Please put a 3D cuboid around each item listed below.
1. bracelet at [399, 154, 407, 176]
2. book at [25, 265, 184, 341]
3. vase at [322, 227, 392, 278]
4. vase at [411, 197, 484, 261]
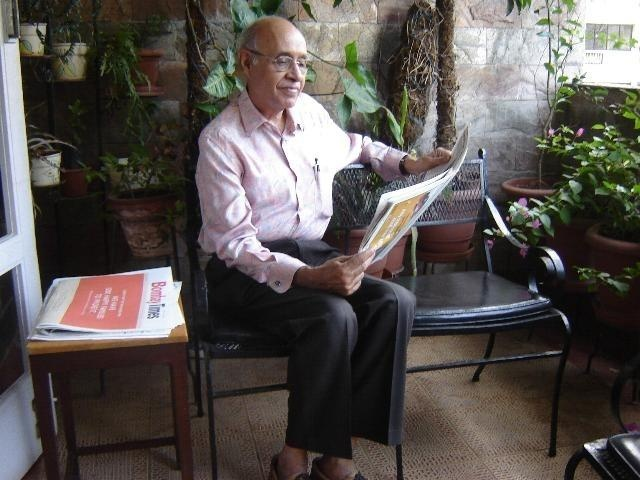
[{"bbox_3d":[0.368,-0.334,2.399,0.023,0.062,0.068,1,20,-2],"label":"bracelet"},{"bbox_3d":[-0.707,0.221,1.795,0.266,0.043,0.289,-3,26,-11],"label":"book"},{"bbox_3d":[0.168,0.028,2.671,0.240,0.267,0.251,4,10,20],"label":"vase"},{"bbox_3d":[0.705,-0.044,2.908,0.308,0.337,0.329,-1,9,-7],"label":"vase"}]
